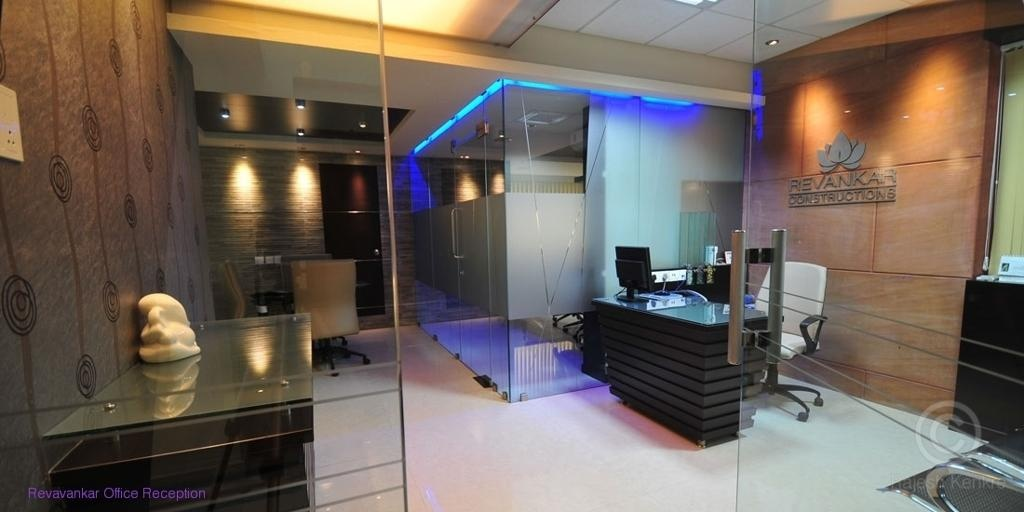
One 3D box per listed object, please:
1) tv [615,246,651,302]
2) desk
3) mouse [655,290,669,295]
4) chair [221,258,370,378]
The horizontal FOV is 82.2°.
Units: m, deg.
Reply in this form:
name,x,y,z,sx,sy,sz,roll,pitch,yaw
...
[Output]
name,x,y,z,sx,sy,sz,roll,pitch,yaw
tv,1.095,0.160,5.287,0.188,0.442,0.507,-11,12,-24
desk,1.672,0.982,5.216,1.220,1.032,1.744,-1,2,-19
mouse,1.463,0.354,5.738,0.081,0.020,0.059,-8,8,-44
chair,-1.127,0.286,3.271,0.758,0.644,0.656,-1,3,-14
